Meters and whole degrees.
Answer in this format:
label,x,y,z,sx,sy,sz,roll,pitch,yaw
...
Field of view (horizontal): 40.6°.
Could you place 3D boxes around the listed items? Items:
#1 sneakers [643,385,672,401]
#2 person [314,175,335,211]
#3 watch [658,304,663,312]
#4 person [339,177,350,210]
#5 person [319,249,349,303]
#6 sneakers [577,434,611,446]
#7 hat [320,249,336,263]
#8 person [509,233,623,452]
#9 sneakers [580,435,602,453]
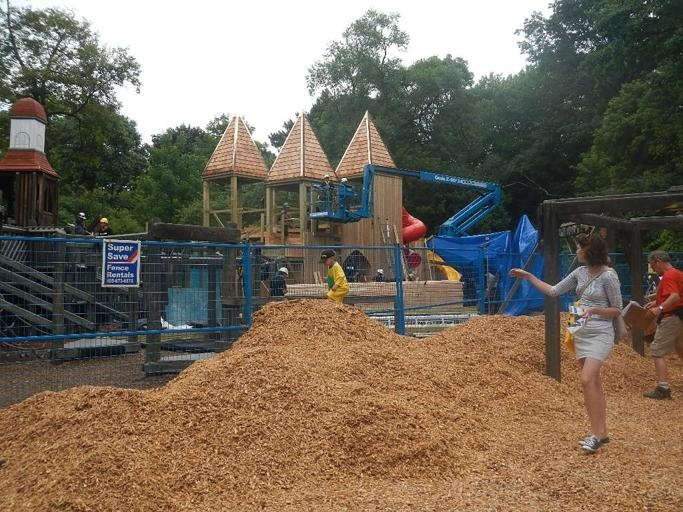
label,x,y,z,sx,sy,sz,roll,pitch,yaw
sneakers,6.260,2.743,18.284,0.495,0.222,0.263,1,-6,11
person,-0.502,-2.050,30.784,0.642,1.333,0.891,-1,-5,-28
watch,6.354,1.052,18.343,0.088,0.090,0.021,-23,-10,1
person,0.157,-2.058,30.820,0.348,1.078,1.158,-3,-5,2
person,-0.201,0.509,20.887,0.604,1.710,0.824,4,-19,-9
sneakers,4.461,3.272,16.329,0.634,0.281,0.226,3,-8,-1
hat,-0.309,0.031,19.890,0.250,0.311,0.296,-7,15,-37
person,4.391,1.540,16.386,1.173,3.803,0.543,-4,-4,18
sneakers,4.351,3.307,16.210,0.398,0.174,0.218,4,0,-12
